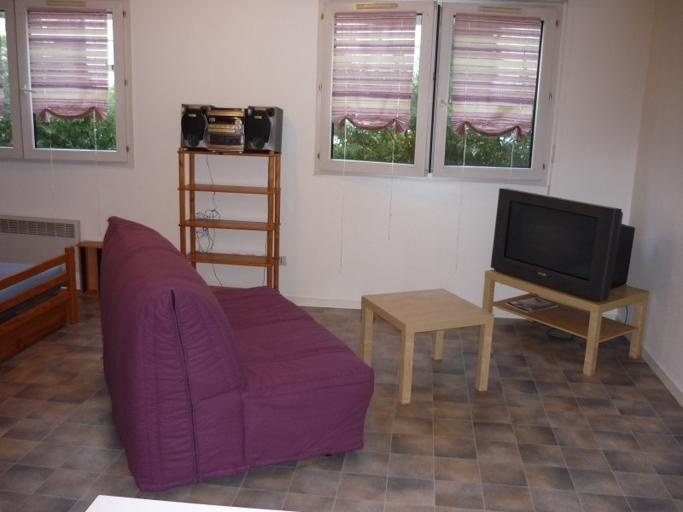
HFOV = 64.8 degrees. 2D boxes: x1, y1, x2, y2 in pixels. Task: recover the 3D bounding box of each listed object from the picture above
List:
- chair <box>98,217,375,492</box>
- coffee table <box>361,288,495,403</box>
[{"bbox_3d":[-0.764,0.452,3.520,1.345,1.095,1.874,-4,14,-29],"label":"chair"},{"bbox_3d":[0.581,0.602,3.821,0.920,0.534,0.944,3,12,8],"label":"coffee table"}]
